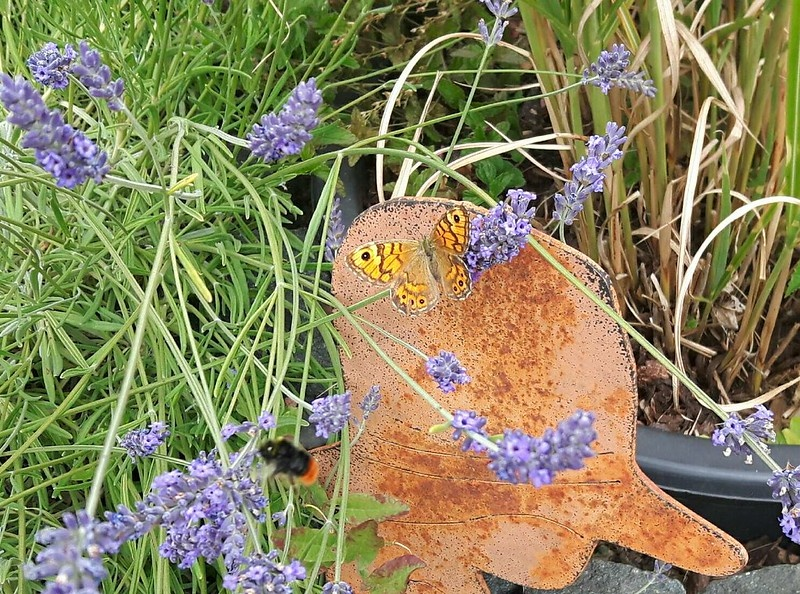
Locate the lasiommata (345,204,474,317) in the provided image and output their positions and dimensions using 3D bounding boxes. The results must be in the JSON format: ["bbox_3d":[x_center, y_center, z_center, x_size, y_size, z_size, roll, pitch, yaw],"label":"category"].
[{"bbox_3d":[0.032,-0.056,1.589,0.256,0.070,0.189,-28,85,3],"label":"lasiommata"}]

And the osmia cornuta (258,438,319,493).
[{"bbox_3d":[-0.185,0.274,1.448,0.067,0.093,0.093,12,24,20],"label":"osmia cornuta"}]
